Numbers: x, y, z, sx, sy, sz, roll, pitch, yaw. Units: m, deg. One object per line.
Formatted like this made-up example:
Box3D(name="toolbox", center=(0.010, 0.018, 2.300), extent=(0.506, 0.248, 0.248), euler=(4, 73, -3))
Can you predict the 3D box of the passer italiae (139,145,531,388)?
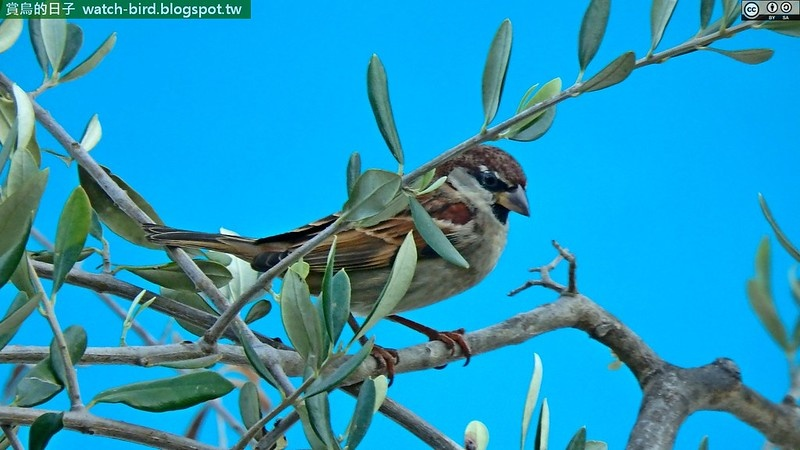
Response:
Box3D(name="passer italiae", center=(-0.092, 0.106, 2.918), extent=(0.899, 0.779, 0.384), euler=(3, -55, -2))
